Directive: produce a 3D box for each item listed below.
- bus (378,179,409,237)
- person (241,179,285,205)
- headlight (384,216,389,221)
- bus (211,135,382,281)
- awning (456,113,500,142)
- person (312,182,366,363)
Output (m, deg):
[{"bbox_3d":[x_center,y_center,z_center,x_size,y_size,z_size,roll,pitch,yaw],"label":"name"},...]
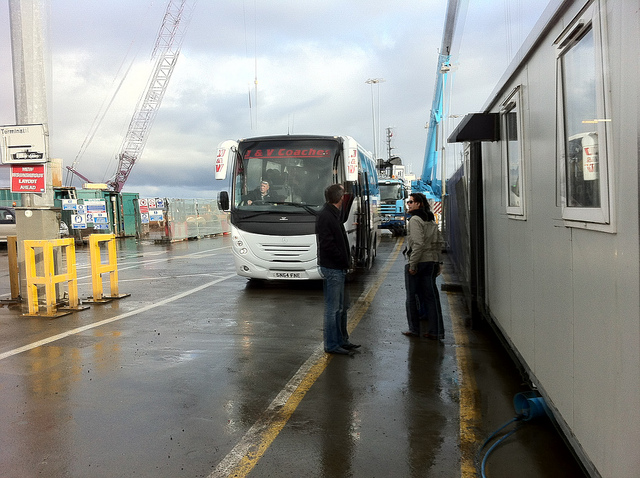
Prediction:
[{"bbox_3d":[5.088,-2.566,33.013,2.214,3.512,7.245,1,4,17],"label":"bus"},{"bbox_3d":[-1.474,-1.140,11.942,1.545,0.824,0.492,-1,4,0],"label":"person"},{"bbox_3d":[4.262,-1.274,29.674,0.270,0.289,0.130,-3,5,0],"label":"headlight"},{"bbox_3d":[-0.682,-0.909,11.824,2.207,2.775,5.799,-1,-1,12],"label":"bus"},{"bbox_3d":[2.204,-1.452,6.390,0.371,0.359,0.497,-1,0,36],"label":"awning"},{"bbox_3d":[0.297,0.454,6.881,0.690,2.505,1.100,-2,5,4],"label":"person"}]
